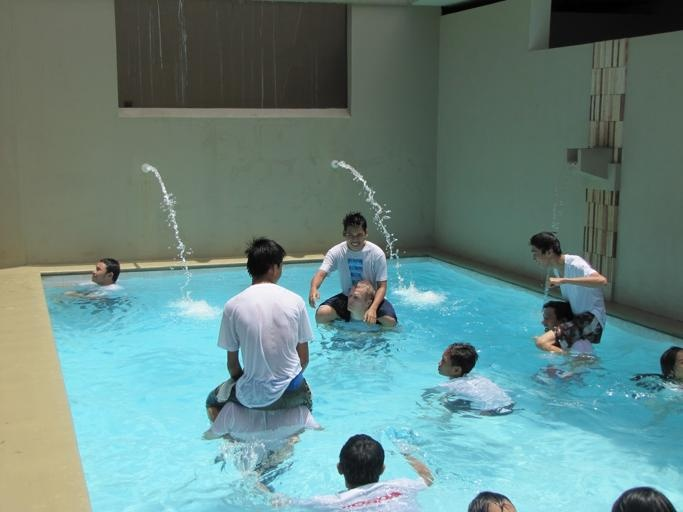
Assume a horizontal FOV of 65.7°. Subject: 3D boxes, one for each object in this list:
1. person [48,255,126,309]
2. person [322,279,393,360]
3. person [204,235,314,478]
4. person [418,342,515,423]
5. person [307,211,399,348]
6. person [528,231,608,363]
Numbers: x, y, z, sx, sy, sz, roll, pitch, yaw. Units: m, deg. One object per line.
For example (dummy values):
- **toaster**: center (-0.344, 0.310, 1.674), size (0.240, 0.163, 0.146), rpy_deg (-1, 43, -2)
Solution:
- **person**: center (-3.330, 0.345, 6.952), size (0.916, 0.713, 0.656), rpy_deg (2, 9, -34)
- **person**: center (0.151, 0.583, 5.467), size (0.838, 0.589, 0.800), rpy_deg (0, 14, 3)
- **person**: center (-0.529, 0.631, 3.318), size (0.685, 1.400, 0.413), rpy_deg (-5, 14, -18)
- **person**: center (0.975, 0.949, 4.156), size (0.696, 0.634, 0.395), rpy_deg (2, 3, 32)
- **person**: center (0.123, 0.201, 5.620), size (0.895, 1.295, 1.021), rpy_deg (6, 18, 29)
- **person**: center (2.303, 0.426, 5.315), size (0.591, 1.467, 0.920), rpy_deg (0, -18, 6)
